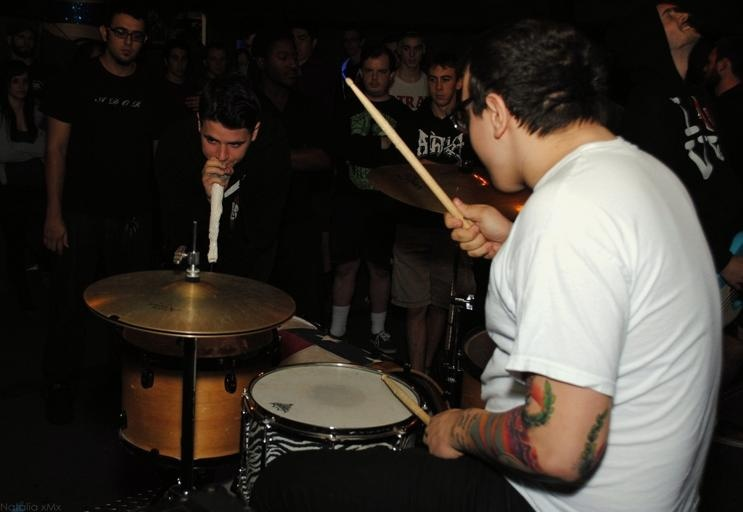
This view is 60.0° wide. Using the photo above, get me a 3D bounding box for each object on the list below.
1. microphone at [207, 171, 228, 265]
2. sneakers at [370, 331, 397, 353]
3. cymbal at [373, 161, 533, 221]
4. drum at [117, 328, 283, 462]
[{"bbox_3d":[-0.984,-0.224,4.060,0.129,0.548,0.091,6,20,9],"label":"microphone"},{"bbox_3d":[0.102,0.693,5.183,0.112,0.098,0.221,-7,14,-34],"label":"sneakers"},{"bbox_3d":[0.394,-0.368,3.550,0.544,0.035,0.530,17,25,1],"label":"cymbal"},{"bbox_3d":[-0.853,0.623,3.385,0.686,0.597,0.673,7,4,10],"label":"drum"}]
